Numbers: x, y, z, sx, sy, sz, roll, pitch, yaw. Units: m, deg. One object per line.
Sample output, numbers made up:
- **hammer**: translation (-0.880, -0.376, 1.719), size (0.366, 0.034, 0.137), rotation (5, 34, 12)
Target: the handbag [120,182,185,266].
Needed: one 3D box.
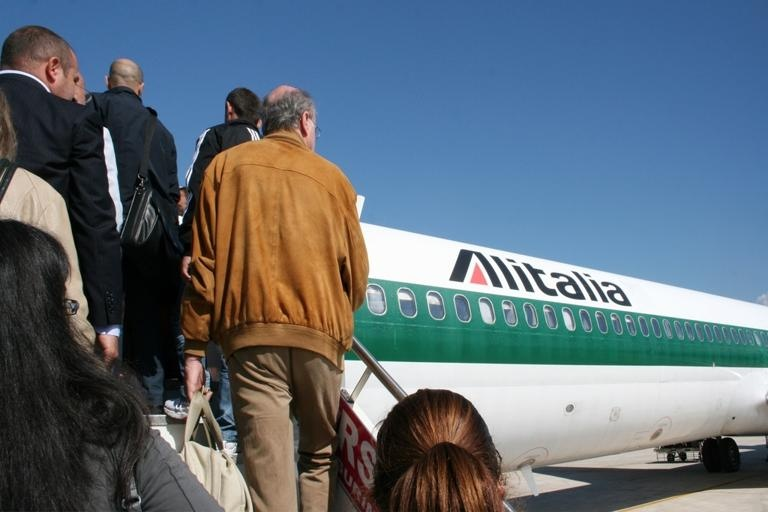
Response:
- **handbag**: translation (-1.797, -0.233, 5.300), size (0.219, 0.621, 0.509), rotation (2, -13, 10)
